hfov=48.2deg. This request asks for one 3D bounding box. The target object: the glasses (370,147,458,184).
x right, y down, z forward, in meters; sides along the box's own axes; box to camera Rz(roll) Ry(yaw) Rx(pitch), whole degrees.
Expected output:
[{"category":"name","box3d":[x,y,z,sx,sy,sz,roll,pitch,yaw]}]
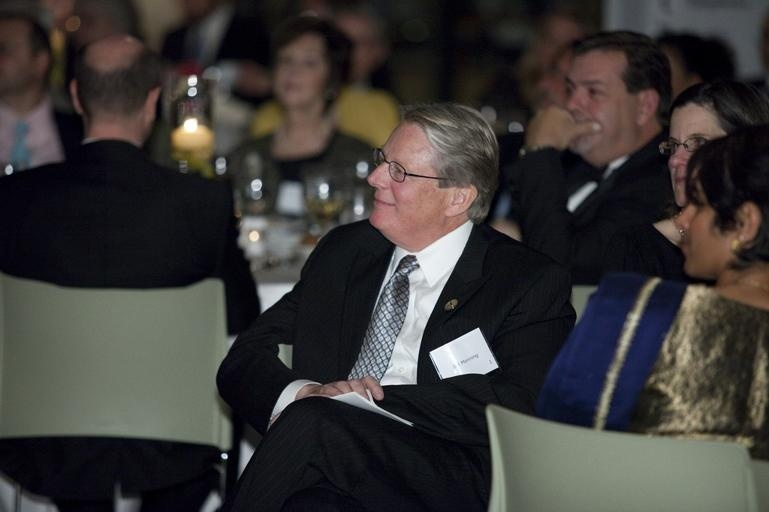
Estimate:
[{"category":"glasses","box3d":[0.073,-0.266,2.658,0.159,0.046,0.151,12,8,-26]}]

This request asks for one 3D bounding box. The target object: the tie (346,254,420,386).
[{"category":"tie","box3d":[0.000,0.205,2.592,0.115,0.436,0.045,17,-10,20]}]
